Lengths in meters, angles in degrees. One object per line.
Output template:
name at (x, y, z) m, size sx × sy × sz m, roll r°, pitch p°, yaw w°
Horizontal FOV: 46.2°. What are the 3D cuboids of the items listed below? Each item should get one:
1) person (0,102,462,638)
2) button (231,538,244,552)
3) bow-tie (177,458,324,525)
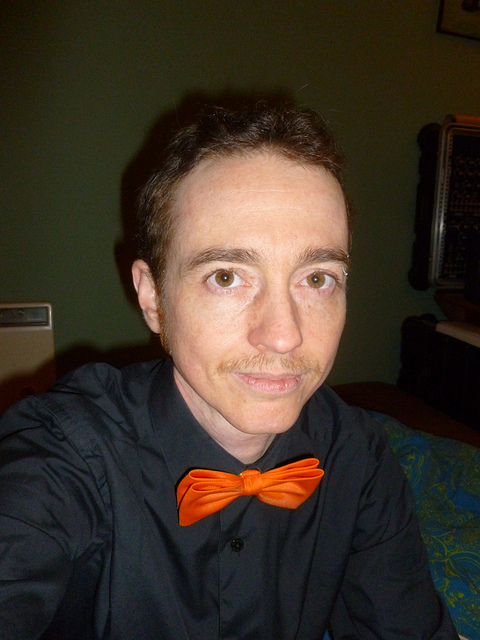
person at (-0.026, 0.120, 1.189) m, size 0.875 × 1.248 × 0.423 m, roll -6°, pitch -6°, yaw -12°
button at (-0.005, 0.460, 1.149) m, size 0.025 × 0.026 × 0.008 m, roll -6°, pitch -6°, yaw -6°
bow-tie at (0.026, 0.344, 1.169) m, size 0.326 × 0.109 × 0.115 m, roll -5°, pitch -7°, yaw -19°
